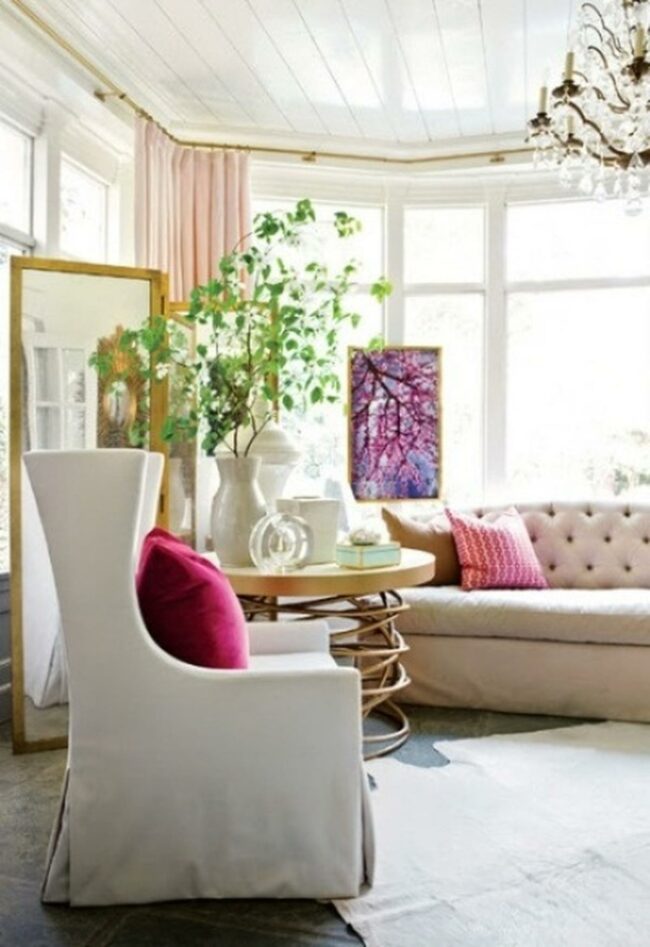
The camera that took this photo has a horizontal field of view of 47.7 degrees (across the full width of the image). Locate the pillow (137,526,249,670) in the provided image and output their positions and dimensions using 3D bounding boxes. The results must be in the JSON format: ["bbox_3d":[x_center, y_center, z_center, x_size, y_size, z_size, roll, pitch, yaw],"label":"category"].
[{"bbox_3d":[-0.256,0.269,1.621,0.220,0.384,0.413,-7,-1,-8],"label":"pillow"}]

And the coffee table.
[{"bbox_3d":[0.005,0.565,2.402,0.675,0.529,0.683,-3,-4,29],"label":"coffee table"}]

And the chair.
[{"bbox_3d":[-0.259,0.399,1.699,0.795,0.858,0.728,0,0,-29],"label":"chair"}]
